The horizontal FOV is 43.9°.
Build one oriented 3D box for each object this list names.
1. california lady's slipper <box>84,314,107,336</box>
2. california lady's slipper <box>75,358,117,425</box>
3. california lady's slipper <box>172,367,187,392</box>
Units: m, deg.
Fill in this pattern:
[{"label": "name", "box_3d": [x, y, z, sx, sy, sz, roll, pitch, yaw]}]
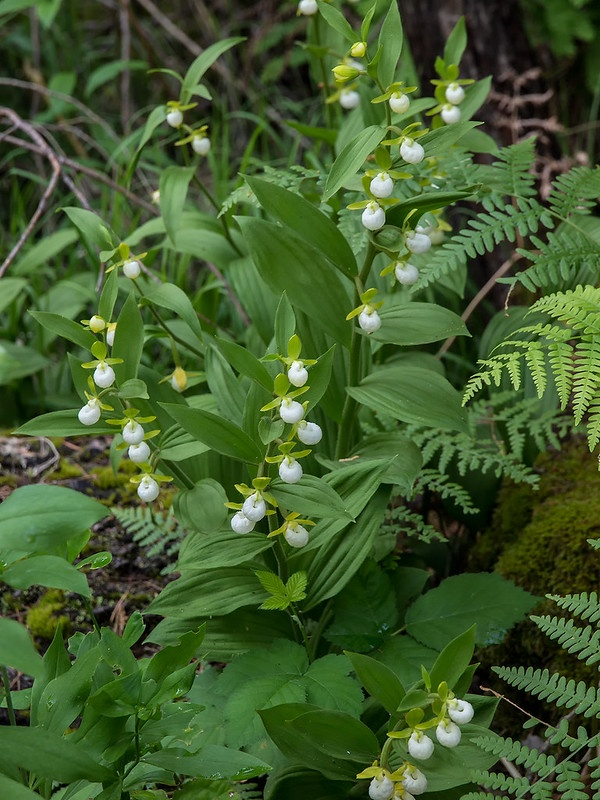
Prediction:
[{"label": "california lady's slipper", "box_3d": [-0.431, -0.160, 1.568, 0.043, 0.038, 0.061, -1, 15, -13]}, {"label": "california lady's slipper", "box_3d": [-0.404, -0.019, 1.495, 0.106, 0.120, 0.051, 15, 7, 12]}, {"label": "california lady's slipper", "box_3d": [-0.328, -0.056, 2.040, 0.061, 0.059, 0.035, -8, -15, 32]}]
